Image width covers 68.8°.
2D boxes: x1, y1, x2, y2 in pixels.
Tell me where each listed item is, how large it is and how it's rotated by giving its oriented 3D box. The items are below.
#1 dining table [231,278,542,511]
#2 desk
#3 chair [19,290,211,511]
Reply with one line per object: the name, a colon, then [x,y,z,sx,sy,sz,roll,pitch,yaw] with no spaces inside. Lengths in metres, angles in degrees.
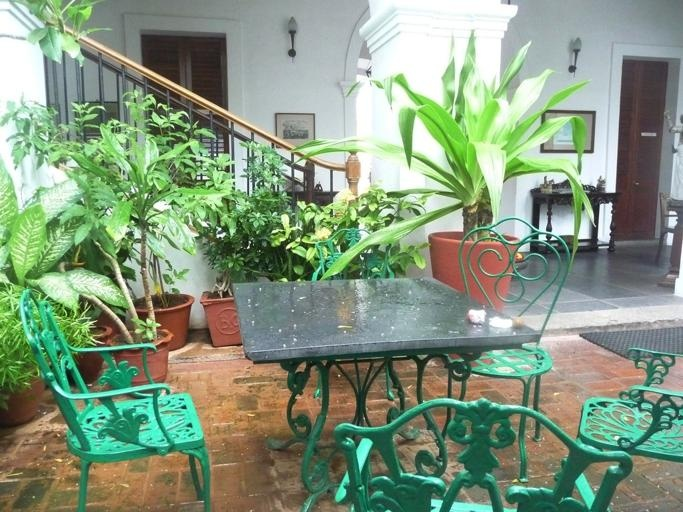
dining table: [0.045,0.502,2.246,1.092,0.614,1.044,-2,10,-13]
desk: [3.441,-0.524,7.383,1.083,0.825,0.646,-1,7,-6]
chair: [-1.106,0.703,2.375,0.767,1.056,0.626,-4,19,-16]
